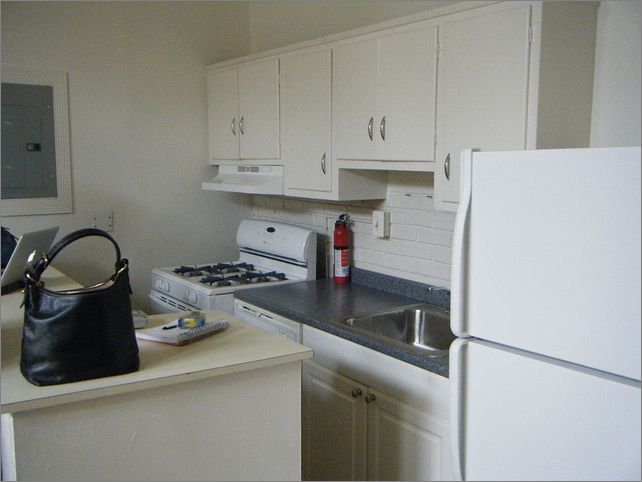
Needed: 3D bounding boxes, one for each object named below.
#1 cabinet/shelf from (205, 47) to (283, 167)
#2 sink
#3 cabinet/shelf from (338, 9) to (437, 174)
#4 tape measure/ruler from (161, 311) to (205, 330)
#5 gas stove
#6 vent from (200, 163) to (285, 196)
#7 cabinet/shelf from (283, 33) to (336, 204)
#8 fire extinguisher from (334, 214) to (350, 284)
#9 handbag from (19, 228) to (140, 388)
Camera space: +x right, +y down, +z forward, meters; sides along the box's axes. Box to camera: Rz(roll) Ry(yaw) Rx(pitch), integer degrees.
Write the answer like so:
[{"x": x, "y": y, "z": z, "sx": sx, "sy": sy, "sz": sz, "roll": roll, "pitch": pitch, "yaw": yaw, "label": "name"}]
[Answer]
[{"x": -0.462, "y": -0.836, "z": 3.368, "sx": 0.715, "sy": 0.660, "sz": 0.264, "roll": 7, "pitch": 11, "yaw": 37, "label": "cabinet/shelf"}, {"x": 0.468, "y": 0.384, "z": 2.394, "sx": 0.264, "sy": 0.139, "sz": 0.318, "roll": -9, "pitch": 14, "yaw": -39, "label": "sink"}, {"x": 0.356, "y": -0.696, "z": 2.510, "sx": 0.256, "sy": 0.593, "sz": 0.654, "roll": -12, "pitch": 16, "yaw": -40, "label": "cabinet/shelf"}, {"x": -0.478, "y": 0.272, "z": 1.794, "sx": 0.114, "sy": 0.043, "sz": 0.065, "roll": -8, "pitch": 9, "yaw": -42, "label": "tape measure/ruler"}, {"x": -0.599, "y": 0.209, "z": 3.194, "sx": 0.609, "sy": 0.066, "sz": 0.670, "roll": -8, "pitch": 11, "yaw": -34, "label": "gas stove"}, {"x": -0.529, "y": -0.398, "z": 3.249, "sx": 0.168, "sy": 0.184, "sz": 0.744, "roll": -9, "pitch": 12, "yaw": -41, "label": "vent"}, {"x": -0.004, "y": -0.672, "z": 2.927, "sx": 0.436, "sy": 0.826, "sz": 0.299, "roll": -2, "pitch": -6, "yaw": 31, "label": "cabinet/shelf"}, {"x": 0.138, "y": 0.047, "z": 3.028, "sx": 0.087, "sy": 0.399, "sz": 0.166, "roll": 3, "pitch": 10, "yaw": 31, "label": "fire extinguisher"}, {"x": -0.854, "y": 0.213, "z": 1.741, "sx": 0.462, "sy": 0.636, "sz": 0.258, "roll": -3, "pitch": -1, "yaw": -35, "label": "handbag"}]
